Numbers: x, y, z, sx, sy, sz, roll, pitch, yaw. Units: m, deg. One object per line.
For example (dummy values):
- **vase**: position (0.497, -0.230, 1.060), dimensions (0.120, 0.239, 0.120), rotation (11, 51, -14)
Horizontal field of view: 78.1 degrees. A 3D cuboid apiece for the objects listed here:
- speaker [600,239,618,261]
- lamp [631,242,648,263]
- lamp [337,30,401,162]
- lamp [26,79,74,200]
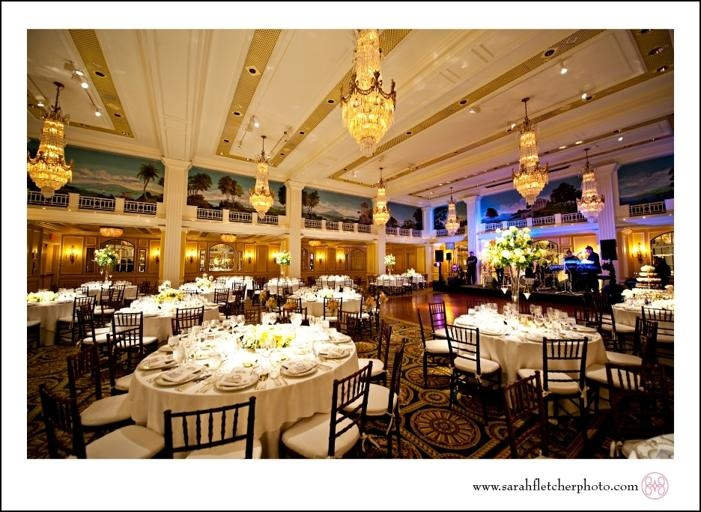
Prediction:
- **speaker**: position (8.538, -0.215, 14.371), dimensions (0.439, 0.582, 0.775), rotation (-4, -3, 27)
- **lamp**: position (10.266, -0.138, 15.383), dimensions (0.136, 0.693, 0.577), rotation (-2, -3, -19)
- **lamp**: position (0.235, -2.499, 6.538), dimensions (0.660, 1.764, 0.748), rotation (0, -3, -44)
- **lamp**: position (-6.046, -2.320, 8.768), dimensions (0.653, 2.359, 2.416), rotation (-1, -3, -34)
